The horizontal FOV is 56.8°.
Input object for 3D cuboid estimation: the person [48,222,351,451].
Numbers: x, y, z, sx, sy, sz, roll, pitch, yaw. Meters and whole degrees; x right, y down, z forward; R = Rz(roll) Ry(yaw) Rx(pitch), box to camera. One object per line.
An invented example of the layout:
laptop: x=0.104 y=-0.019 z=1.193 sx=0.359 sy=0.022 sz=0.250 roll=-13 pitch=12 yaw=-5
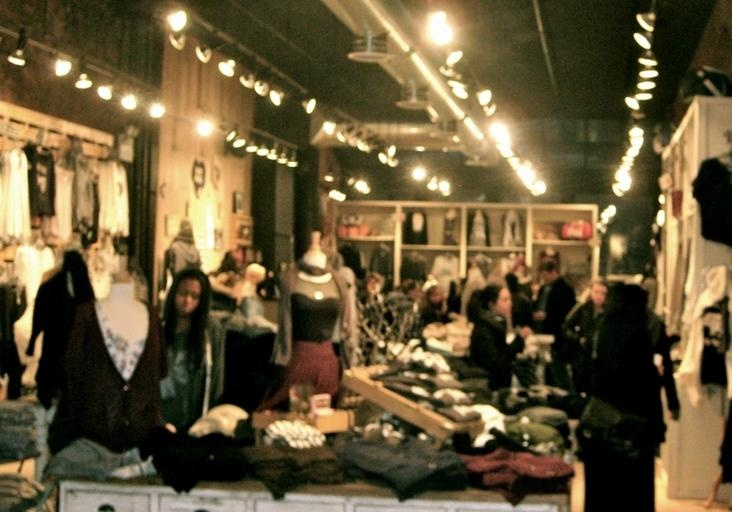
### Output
person: x=-1.245 y=0.572 z=4.871 sx=1.775 sy=1.198 sz=0.399 roll=0 pitch=-1 yaw=-19

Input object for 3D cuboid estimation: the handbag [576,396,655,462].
handbag: x=1.646 y=1.148 z=4.494 sx=0.477 sy=0.301 sz=0.369 roll=-2 pitch=-8 yaw=18
